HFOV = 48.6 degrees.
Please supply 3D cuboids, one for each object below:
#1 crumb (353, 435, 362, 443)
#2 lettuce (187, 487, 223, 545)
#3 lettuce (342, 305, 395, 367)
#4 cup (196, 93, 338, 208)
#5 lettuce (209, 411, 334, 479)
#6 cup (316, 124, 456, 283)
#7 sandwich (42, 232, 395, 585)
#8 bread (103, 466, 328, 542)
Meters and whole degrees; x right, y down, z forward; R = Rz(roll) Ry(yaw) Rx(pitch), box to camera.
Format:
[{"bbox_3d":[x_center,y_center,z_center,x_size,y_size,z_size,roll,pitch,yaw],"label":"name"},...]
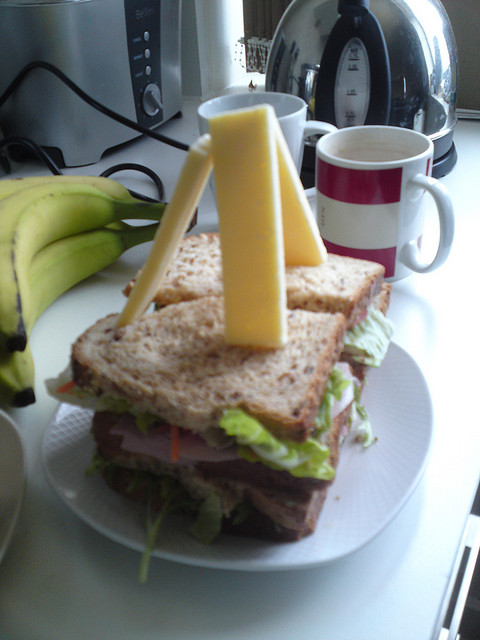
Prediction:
[{"bbox_3d":[0.100,0.101,0.451,0.002,0.005,0.005,37,34,-20],"label":"crumb"},{"bbox_3d":[-0.017,0.137,0.364,0.027,0.028,0.039,4,29,10],"label":"lettuce"},{"bbox_3d":[0.116,0.014,0.469,0.051,0.052,0.059,12,29,17],"label":"lettuce"},{"bbox_3d":[0.034,-0.249,0.761,0.196,0.139,0.184,1,25,0],"label":"cup"},{"bbox_3d":[0.023,0.086,0.344,0.075,0.042,0.025,6,25,12],"label":"lettuce"},{"bbox_3d":[0.187,-0.129,0.647,0.123,0.161,0.193,-22,39,-14],"label":"cup"},{"bbox_3d":[-0.009,0.063,0.517,0.308,0.251,0.255,7,24,20],"label":"sandwich"},{"bbox_3d":[-0.016,0.136,0.373,0.074,0.017,0.075,14,10,20],"label":"bread"}]
